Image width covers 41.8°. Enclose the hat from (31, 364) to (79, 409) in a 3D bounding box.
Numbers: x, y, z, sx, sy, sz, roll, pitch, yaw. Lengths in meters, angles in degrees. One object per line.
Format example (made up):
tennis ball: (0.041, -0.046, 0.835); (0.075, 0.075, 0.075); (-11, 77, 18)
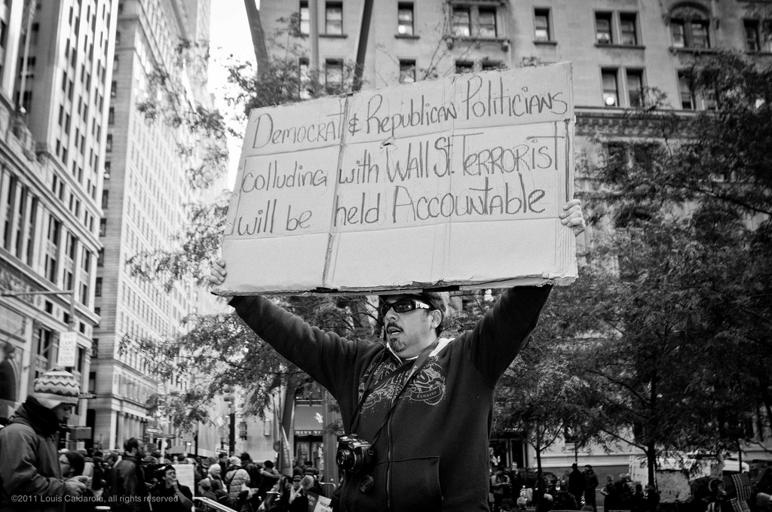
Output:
hat: (-8.390, 3.394, 25.757); (1.000, 1.104, 0.916); (5, 3, -15)
